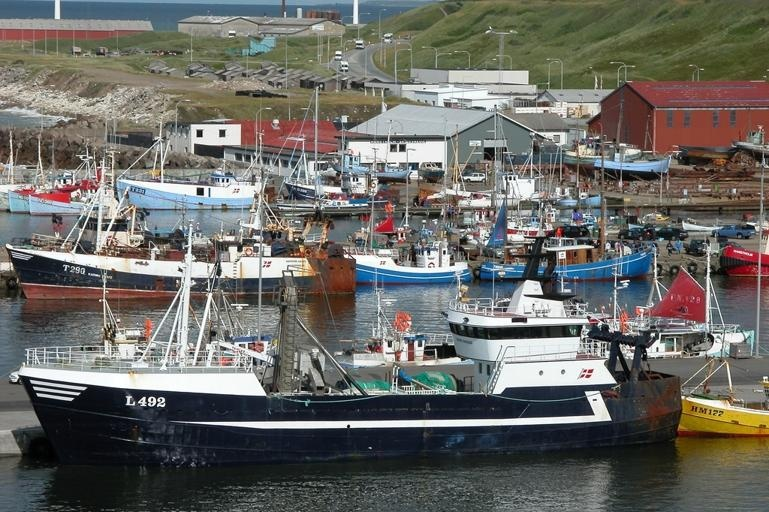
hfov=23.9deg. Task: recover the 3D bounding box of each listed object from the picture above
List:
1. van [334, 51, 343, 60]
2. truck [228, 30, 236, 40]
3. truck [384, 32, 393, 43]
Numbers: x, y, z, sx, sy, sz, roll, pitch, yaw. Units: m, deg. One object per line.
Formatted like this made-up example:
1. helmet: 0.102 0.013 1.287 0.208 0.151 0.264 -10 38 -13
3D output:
1. van: -5.698 -24.973 225.223 1.334 1.158 2.286 0 3 0
2. truck: -21.960 -32.176 262.973 1.510 1.403 0.900 -1 -7 1
3. truck: 0.414 -30.316 252.706 1.165 0.993 3.462 -1 6 4
